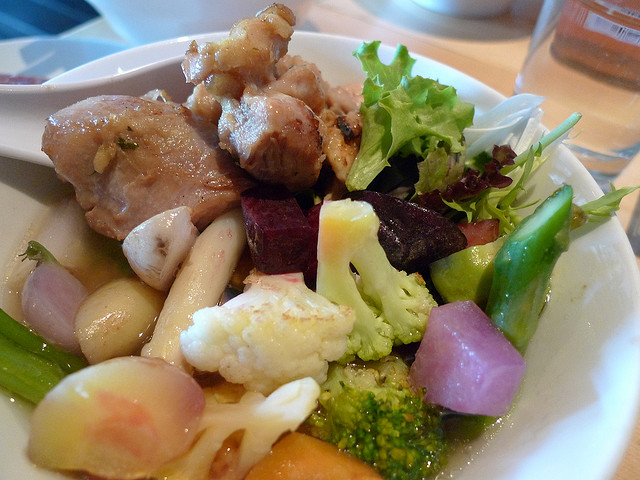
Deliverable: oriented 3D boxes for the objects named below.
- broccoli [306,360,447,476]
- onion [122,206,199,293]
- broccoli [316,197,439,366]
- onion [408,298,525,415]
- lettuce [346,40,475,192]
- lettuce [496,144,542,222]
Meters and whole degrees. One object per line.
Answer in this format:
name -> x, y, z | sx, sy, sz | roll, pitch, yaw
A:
broccoli -> 0.186, 0.529, 1.720 | 0.317, 0.153, 0.338 | 6, 55, 7
onion -> -0.514, 0.029, 1.940 | 0.179, 0.236, 0.294 | 10, 15, 32
broccoli -> 0.160, 0.125, 1.833 | 0.365, 0.534, 0.292 | -1, 33, 18
onion -> 0.416, 0.312, 1.764 | 0.252, 0.294, 0.401 | -2, 12, -15
lettuce -> 0.298, -0.443, 2.078 | 0.492, 0.211, 0.550 | 28, 55, -19
lettuce -> 0.682, -0.177, 1.976 | 0.076, 0.281, 0.120 | -12, 20, -28
